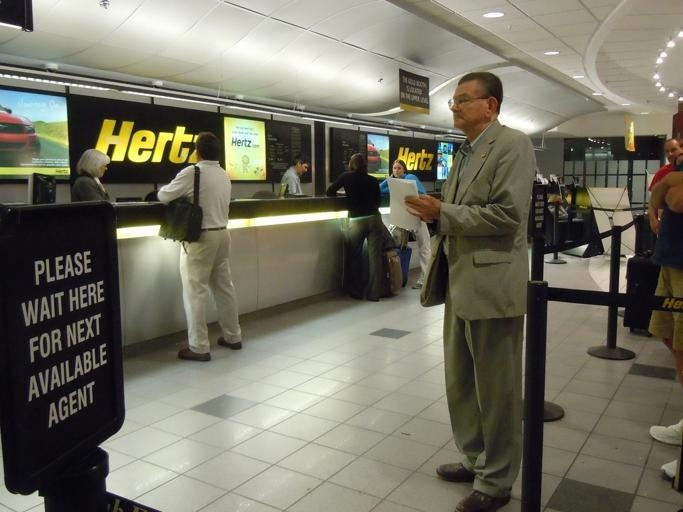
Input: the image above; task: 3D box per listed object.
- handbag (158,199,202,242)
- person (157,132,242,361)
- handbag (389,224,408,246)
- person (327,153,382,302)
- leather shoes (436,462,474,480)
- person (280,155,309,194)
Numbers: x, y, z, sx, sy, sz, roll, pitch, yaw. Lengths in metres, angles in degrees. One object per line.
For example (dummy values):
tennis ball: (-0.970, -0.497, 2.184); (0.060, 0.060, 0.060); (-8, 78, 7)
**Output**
handbag: (-1.470, -0.355, 4.573); (0.456, 0.469, 0.197); (5, -2, 39)
person: (-1.308, -0.086, 4.693); (0.360, 2.077, 0.675); (5, 9, 39)
handbag: (0.732, -0.247, 6.498); (0.129, 0.239, 0.225); (-18, 25, -34)
person: (0.241, -0.407, 6.970); (0.642, 1.977, 0.343); (3, 7, 23)
leather shoes: (0.635, 1.190, 2.805); (0.208, 0.090, 0.084); (4, 8, 17)
person: (-0.876, -1.470, 8.899); (0.363, 0.694, 1.014); (-3, -18, -12)
